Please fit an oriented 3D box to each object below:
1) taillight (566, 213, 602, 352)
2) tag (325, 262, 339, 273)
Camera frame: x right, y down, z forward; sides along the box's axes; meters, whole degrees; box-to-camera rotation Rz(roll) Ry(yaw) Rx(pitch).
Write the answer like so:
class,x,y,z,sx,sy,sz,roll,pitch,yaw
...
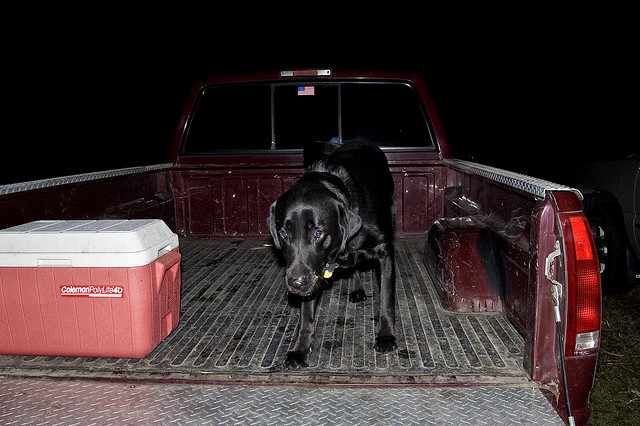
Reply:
class,x,y,z,sx,sy,sz,roll,pitch,yaw
taillight,1.512,0.395,2.479,0.190,0.773,0.179,-2,12,-8
tag,0.088,0.445,3.486,0.007,0.061,0.156,0,0,37
